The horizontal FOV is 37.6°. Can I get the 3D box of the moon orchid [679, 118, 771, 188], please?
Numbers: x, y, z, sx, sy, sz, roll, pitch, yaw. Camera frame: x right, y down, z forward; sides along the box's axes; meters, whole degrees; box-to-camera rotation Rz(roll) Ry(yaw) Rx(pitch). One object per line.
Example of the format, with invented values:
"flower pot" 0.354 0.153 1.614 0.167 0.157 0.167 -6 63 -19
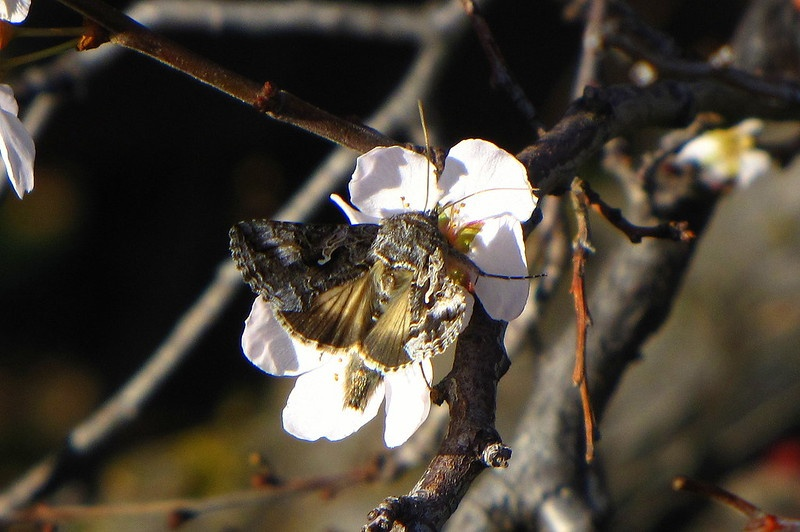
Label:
"moon orchid" 1.408 -0.473 5.015 0.487 0.293 0.239 -6 -1 -38
